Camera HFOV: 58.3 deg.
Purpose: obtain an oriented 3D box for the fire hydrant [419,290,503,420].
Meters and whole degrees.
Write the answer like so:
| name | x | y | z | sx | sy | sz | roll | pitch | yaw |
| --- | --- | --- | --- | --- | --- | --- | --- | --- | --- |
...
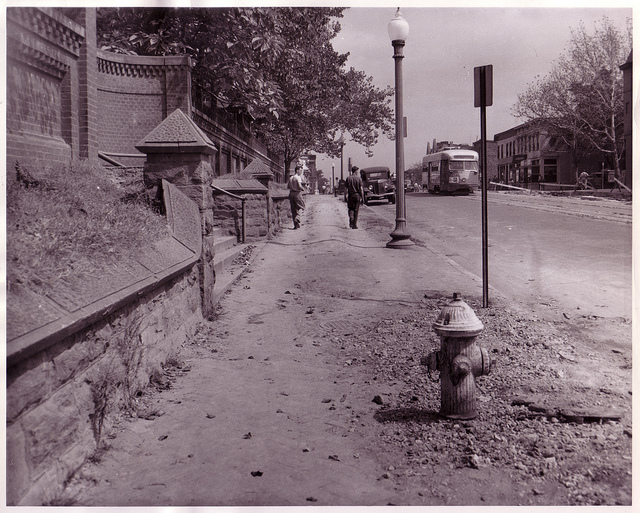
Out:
| name | x | y | z | sx | sy | sz | roll | pitch | yaw |
| --- | --- | --- | --- | --- | --- | --- | --- | --- | --- |
| fire hydrant | 1.665 | 0.952 | 6.192 | 0.930 | 1.704 | 0.977 | -3 | 1 | 24 |

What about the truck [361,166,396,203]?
| name | x | y | z | sx | sy | sz | roll | pitch | yaw |
| --- | --- | --- | --- | --- | --- | --- | --- | --- | --- |
| truck | 3.794 | -4.687 | 37.502 | 2.015 | 2.280 | 3.820 | 1 | 11 | 1 |
